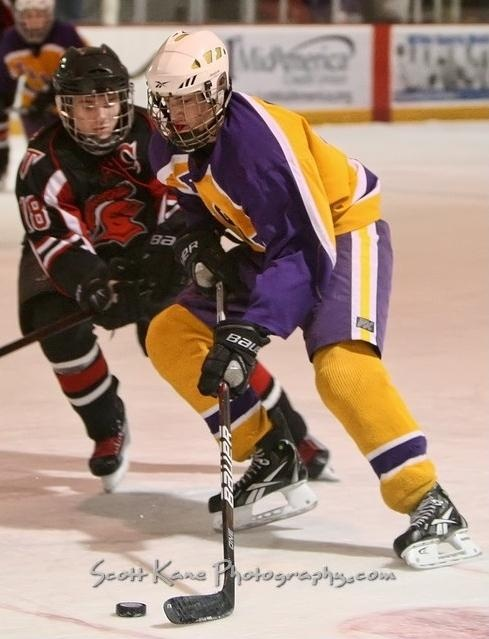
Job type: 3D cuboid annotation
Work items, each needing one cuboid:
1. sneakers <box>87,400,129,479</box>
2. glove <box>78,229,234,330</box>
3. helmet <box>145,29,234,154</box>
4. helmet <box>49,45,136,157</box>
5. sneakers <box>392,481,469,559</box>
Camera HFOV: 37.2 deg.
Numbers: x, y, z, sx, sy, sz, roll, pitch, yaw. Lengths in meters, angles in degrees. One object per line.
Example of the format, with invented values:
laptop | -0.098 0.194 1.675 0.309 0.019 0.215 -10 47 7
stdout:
sneakers | -0.370 0.344 2.077 0.089 0.100 0.246 -16 35 16
glove | -0.260 -0.152 2.051 0.446 0.148 0.245 -25 45 -15
helmet | -0.107 -0.510 1.590 0.188 0.204 0.218 10 43 30
helmet | -0.442 -0.640 2.045 0.228 0.253 0.283 -16 39 -25
sneakers | 0.367 0.410 1.445 0.201 0.158 0.060 1 -28 -39
